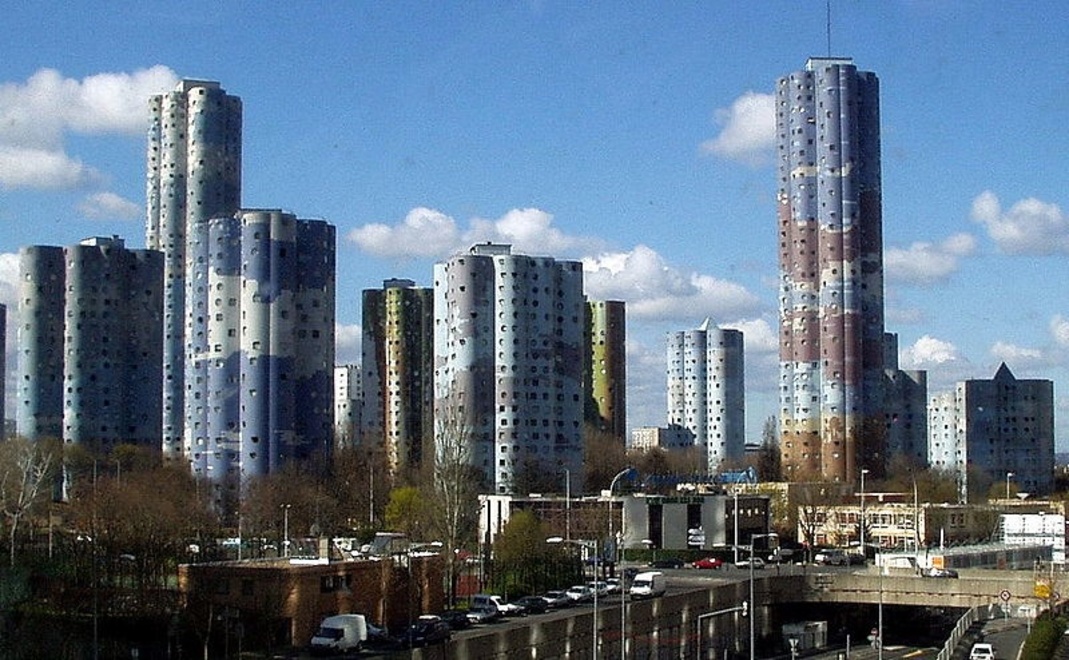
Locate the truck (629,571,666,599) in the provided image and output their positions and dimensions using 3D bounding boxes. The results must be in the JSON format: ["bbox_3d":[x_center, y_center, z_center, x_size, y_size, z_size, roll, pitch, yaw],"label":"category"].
[{"bbox_3d":[16.152,36.566,269.780,2.676,2.539,4.868,-5,-13,23],"label":"truck"}]

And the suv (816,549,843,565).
[{"bbox_3d":[48.055,37.154,307.904,3.317,1.655,2.212,7,-12,-27],"label":"suv"}]
